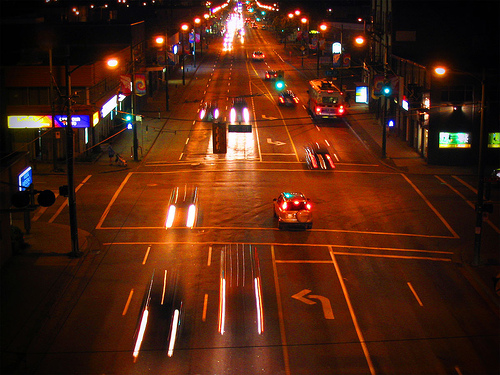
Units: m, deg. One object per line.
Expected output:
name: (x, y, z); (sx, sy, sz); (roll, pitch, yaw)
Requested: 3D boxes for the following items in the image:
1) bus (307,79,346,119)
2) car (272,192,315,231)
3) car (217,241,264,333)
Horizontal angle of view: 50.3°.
bus: (10.207, -12.503, 73.127); (3.721, 4.478, 11.230); (2, 18, 1)
car: (2.684, 1.378, 35.232); (1.635, 1.439, 2.870); (-2, 19, -1)
car: (-0.524, 4.868, 26.303); (2.059, 1.414, 6.971); (0, 11, -2)
